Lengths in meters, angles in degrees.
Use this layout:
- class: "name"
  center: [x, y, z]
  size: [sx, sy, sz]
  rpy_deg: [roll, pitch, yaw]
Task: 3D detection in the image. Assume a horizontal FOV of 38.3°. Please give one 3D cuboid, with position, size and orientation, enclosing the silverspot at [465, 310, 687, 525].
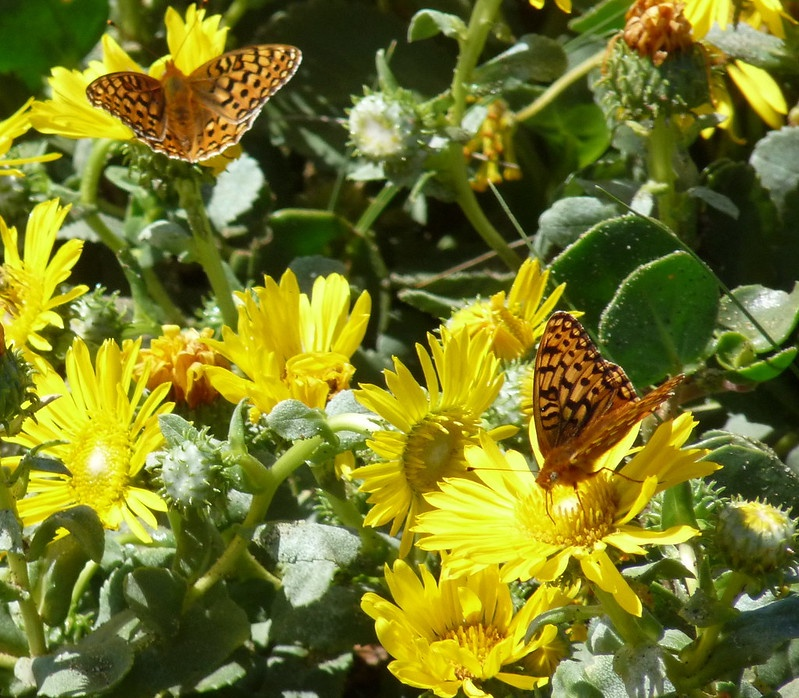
- class: "silverspot"
  center: [0.170, 0.048, 1.133]
  size: [0.186, 0.132, 0.248]
  rpy_deg: [-17, 3, 9]

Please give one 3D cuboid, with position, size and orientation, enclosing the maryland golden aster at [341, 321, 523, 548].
- class: "maryland golden aster"
  center: [0.038, 0.091, 1.130]
  size: [0.215, 0.200, 0.056]
  rpy_deg: [16, 4, -34]

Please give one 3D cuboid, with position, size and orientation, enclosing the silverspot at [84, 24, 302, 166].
- class: "silverspot"
  center: [-0.224, -0.280, 1.255]
  size: [0.166, 0.162, 0.166]
  rpy_deg: [-4, 17, -2]
